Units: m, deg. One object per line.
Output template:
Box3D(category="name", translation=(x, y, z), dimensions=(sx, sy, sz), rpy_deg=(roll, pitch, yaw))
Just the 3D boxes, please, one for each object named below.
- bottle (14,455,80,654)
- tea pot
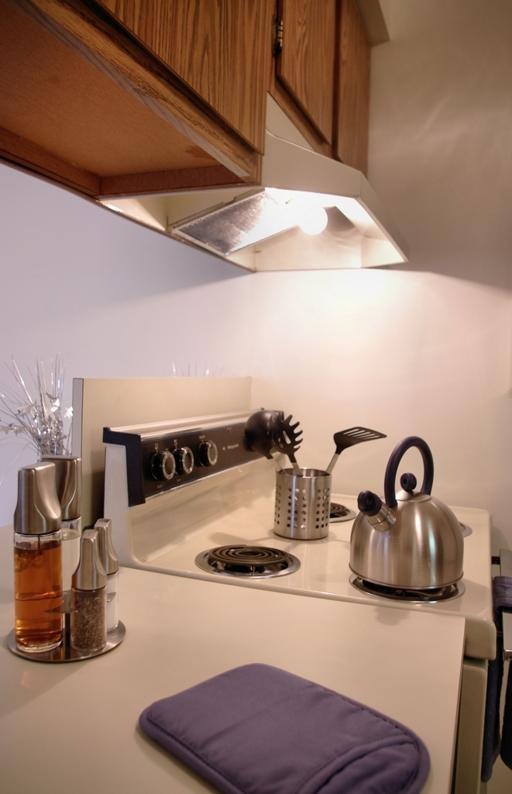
Box3D(category="bottle", translation=(-0.230, 0.175, 0.610), dimensions=(0.053, 0.209, 0.083), rpy_deg=(1, -1, -23))
Box3D(category="tea pot", translation=(0.220, 0.167, 0.853), dimensions=(0.149, 0.220, 0.236), rpy_deg=(-3, -7, 41))
